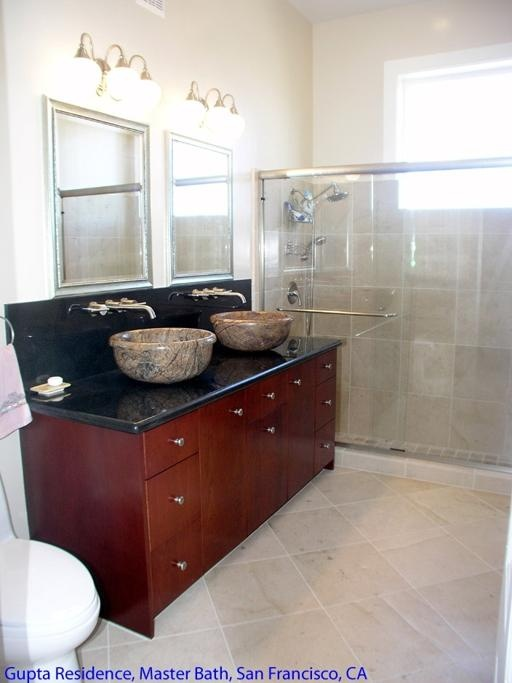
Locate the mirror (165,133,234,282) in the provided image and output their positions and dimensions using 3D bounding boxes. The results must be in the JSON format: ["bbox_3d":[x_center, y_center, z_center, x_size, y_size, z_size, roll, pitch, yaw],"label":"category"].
[{"bbox_3d":[-0.273,-0.644,2.601,0.023,0.681,0.565,9,14,26],"label":"mirror"}]

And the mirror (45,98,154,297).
[{"bbox_3d":[-0.595,-0.548,1.962,0.034,0.836,0.717,5,9,24],"label":"mirror"}]

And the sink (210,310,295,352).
[{"bbox_3d":[-0.027,-0.042,2.585,0.378,0.173,0.464,0,7,-5],"label":"sink"}]

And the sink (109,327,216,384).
[{"bbox_3d":[-0.340,0.054,1.962,0.372,0.166,0.381,-7,11,-34],"label":"sink"}]

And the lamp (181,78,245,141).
[{"bbox_3d":[-0.220,-1.133,2.583,0.178,0.132,0.280,-37,32,-13],"label":"lamp"}]

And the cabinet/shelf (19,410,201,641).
[{"bbox_3d":[-0.429,0.491,1.919,0.721,0.924,0.497,1,7,18],"label":"cabinet/shelf"}]

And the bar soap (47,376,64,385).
[{"bbox_3d":[-0.687,0.132,1.789,0.035,0.018,0.036,0,7,-6],"label":"bar soap"}]
